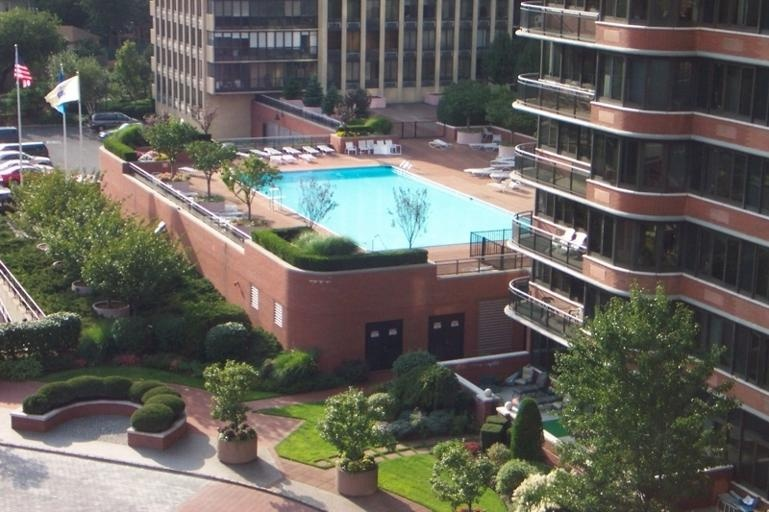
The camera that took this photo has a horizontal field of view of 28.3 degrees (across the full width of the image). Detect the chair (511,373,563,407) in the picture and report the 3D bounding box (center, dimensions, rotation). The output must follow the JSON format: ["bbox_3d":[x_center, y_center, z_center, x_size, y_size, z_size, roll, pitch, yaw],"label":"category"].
[{"bbox_3d":[7.577,6.782,77.427,1.358,0.949,2.091,-1,10,-17],"label":"chair"}]

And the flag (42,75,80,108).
[{"bbox_3d":[-21.296,-10.829,100.102,2.390,2.487,0.251,-5,-16,-1],"label":"flag"}]

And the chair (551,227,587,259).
[{"bbox_3d":[9.078,-0.602,74.764,0.799,1.269,2.001,-11,18,-40],"label":"chair"}]
